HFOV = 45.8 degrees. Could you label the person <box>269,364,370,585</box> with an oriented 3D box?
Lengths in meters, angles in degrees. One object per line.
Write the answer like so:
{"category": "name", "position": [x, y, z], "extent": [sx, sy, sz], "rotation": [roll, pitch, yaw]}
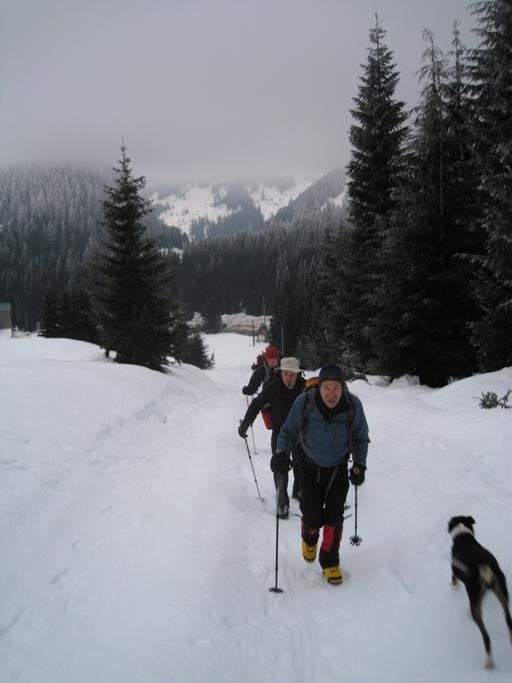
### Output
{"category": "person", "position": [0.696, 1.329, 6.489], "extent": [0.821, 2.769, 1.187], "rotation": [-3, 31, 1]}

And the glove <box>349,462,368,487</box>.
{"category": "glove", "position": [1.035, 1.357, 6.145], "extent": [0.109, 0.260, 0.206], "rotation": [5, -8, -27]}

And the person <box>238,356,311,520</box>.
{"category": "person", "position": [0.418, 1.349, 8.514], "extent": [1.079, 2.714, 0.866], "rotation": [8, 33, 18]}

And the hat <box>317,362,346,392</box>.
{"category": "hat", "position": [0.762, 0.355, 6.053], "extent": [0.151, 0.305, 0.264], "rotation": [0, -13, 2]}

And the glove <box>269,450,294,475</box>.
{"category": "glove", "position": [0.264, 1.255, 6.409], "extent": [0.147, 0.279, 0.239], "rotation": [-2, -6, 4]}

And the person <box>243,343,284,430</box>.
{"category": "person", "position": [0.169, 0.713, 9.817], "extent": [0.557, 1.345, 0.439], "rotation": [-16, 23, -21]}
